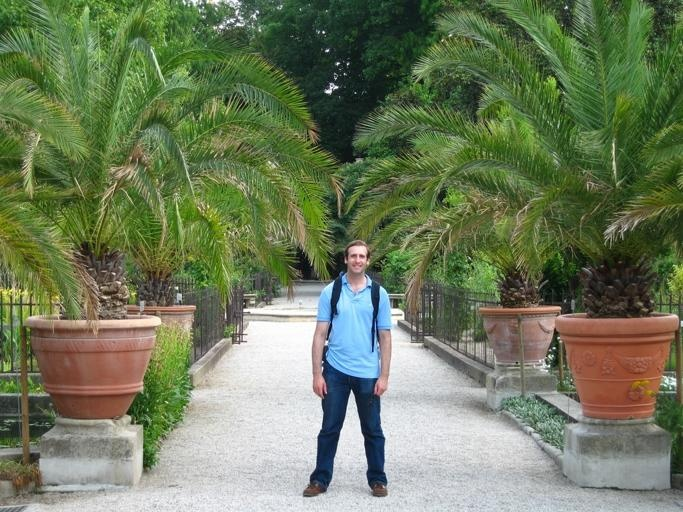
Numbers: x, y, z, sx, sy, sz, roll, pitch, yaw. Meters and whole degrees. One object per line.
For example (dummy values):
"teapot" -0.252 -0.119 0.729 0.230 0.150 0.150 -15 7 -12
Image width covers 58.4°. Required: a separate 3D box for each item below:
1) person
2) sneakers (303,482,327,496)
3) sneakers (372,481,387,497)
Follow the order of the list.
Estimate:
"person" 0.076 1.090 5.967 0.801 2.472 0.330 0 0 5
"sneakers" -0.256 2.264 5.959 0.229 0.118 0.096 11 -12 -37
"sneakers" 0.376 2.264 5.940 0.160 0.126 0.110 0 -1 -1
